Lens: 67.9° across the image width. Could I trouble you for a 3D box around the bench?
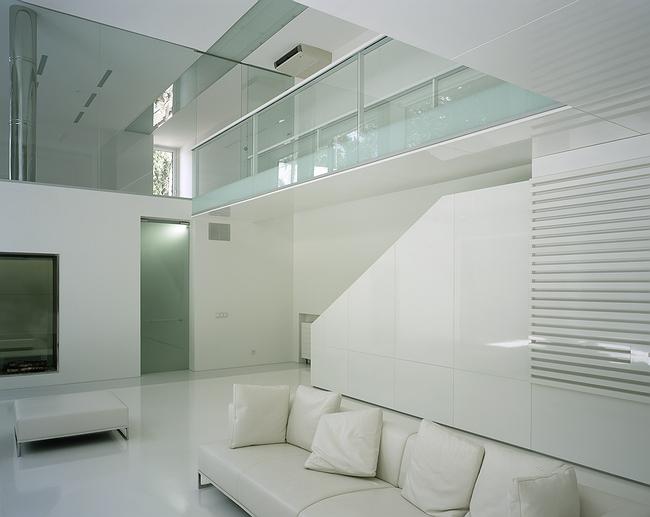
[{"bbox_3d":[-2.842,1.788,5.441,1.084,0.287,1.032,-1,0,-31],"label":"bench"}]
